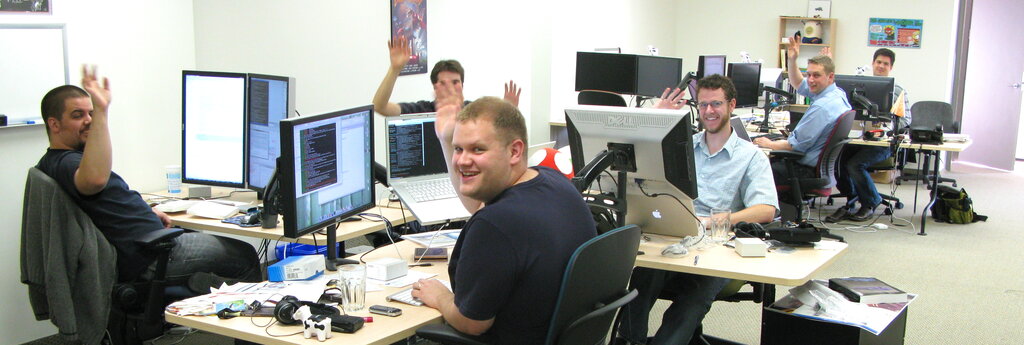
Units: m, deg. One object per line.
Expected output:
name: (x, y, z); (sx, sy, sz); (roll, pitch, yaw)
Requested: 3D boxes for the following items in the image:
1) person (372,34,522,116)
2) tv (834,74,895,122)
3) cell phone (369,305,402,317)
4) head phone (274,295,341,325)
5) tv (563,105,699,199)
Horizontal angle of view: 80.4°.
person: (-1.206, -1.633, 10.099); (0.948, 0.947, 2.746); (1, 2, 37)
tv: (6.548, -1.370, 11.269); (1.450, 0.773, 0.432); (3, 15, 20)
cell phone: (-1.654, 1.819, 7.910); (0.398, 0.044, 0.156); (2, 4, 11)
head phone: (-2.660, 1.794, 7.877); (0.739, 0.165, 0.434); (7, 16, -1)
tv: (1.636, -0.254, 8.377); (1.979, 0.905, 0.376); (3, 25, 17)
